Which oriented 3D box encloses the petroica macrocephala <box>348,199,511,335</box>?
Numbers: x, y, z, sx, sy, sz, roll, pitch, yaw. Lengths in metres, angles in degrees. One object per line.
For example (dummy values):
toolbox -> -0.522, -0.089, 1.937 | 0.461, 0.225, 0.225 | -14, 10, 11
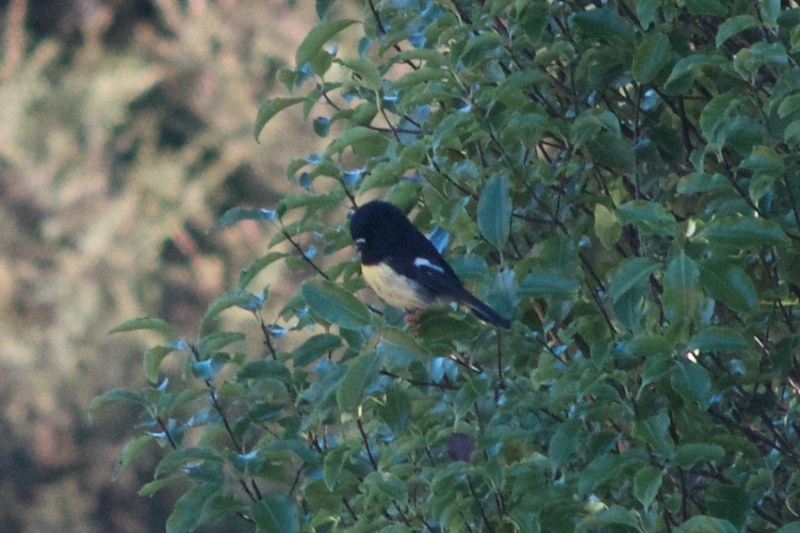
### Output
petroica macrocephala -> 0.041, -0.019, 7.993 | 0.540, 0.762, 0.388 | -28, 1, 17
